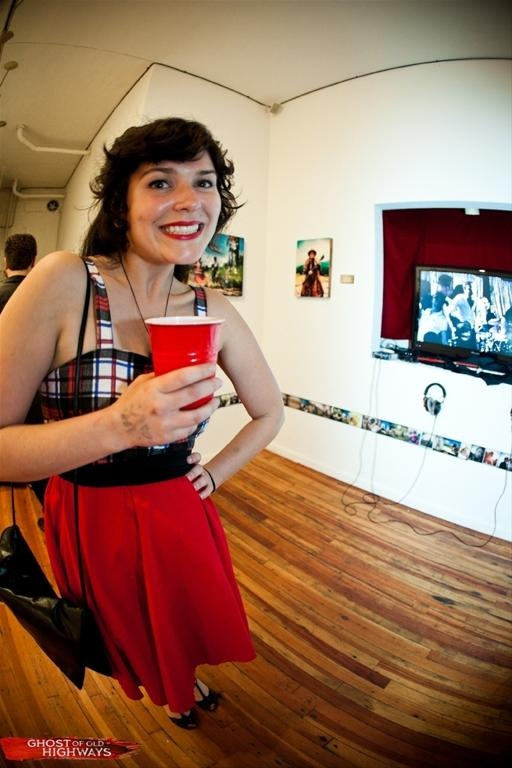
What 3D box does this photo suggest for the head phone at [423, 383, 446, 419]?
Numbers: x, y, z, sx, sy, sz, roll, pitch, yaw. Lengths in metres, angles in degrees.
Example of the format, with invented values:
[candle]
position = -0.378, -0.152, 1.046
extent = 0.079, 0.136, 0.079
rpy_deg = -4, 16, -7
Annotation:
[head phone]
position = 0.878, 0.080, 2.578
extent = 0.145, 0.193, 0.073
rpy_deg = 7, 0, 23

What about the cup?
[cup]
position = -0.093, -0.029, 0.686
extent = 0.105, 0.116, 0.112
rpy_deg = 0, 5, 0

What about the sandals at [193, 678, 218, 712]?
[sandals]
position = -0.120, 0.734, 1.257
extent = 0.039, 0.045, 0.111
rpy_deg = 1, -10, -27
